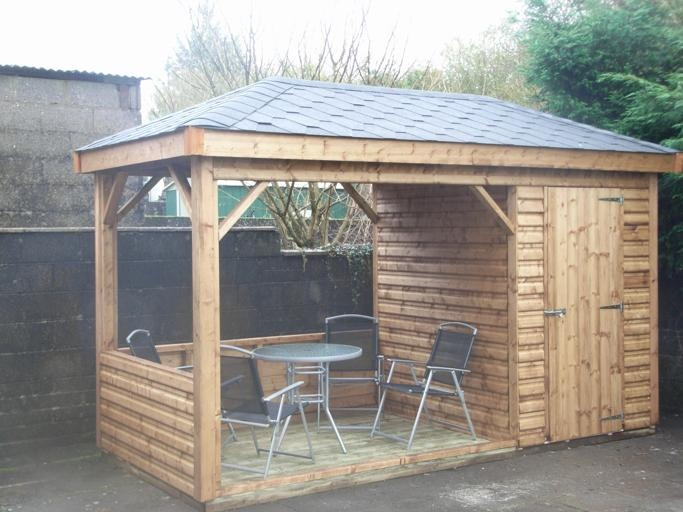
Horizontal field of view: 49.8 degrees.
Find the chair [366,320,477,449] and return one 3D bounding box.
[{"bbox_3d":[1.076,1.456,8.315,0.932,1.215,0.965,-7,-8,15],"label":"chair"}]

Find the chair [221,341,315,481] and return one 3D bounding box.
[{"bbox_3d":[-0.792,1.461,7.208,0.925,1.190,0.945,-2,4,-10],"label":"chair"}]
